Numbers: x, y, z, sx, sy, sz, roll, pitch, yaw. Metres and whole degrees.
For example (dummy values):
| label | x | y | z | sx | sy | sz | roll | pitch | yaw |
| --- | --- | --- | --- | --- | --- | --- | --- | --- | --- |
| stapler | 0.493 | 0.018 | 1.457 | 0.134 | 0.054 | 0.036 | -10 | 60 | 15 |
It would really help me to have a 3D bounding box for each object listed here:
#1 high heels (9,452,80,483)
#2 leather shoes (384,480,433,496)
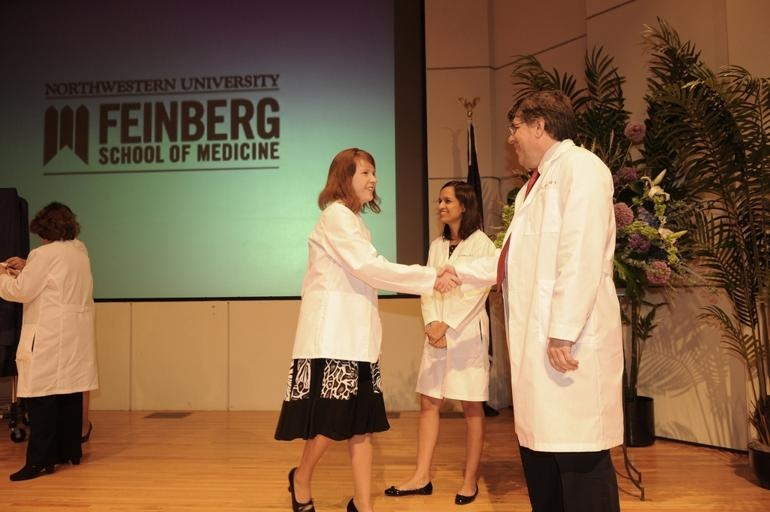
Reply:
| label | x | y | z | sx | sy | sz | roll | pitch | yaw |
| --- | --- | --- | --- | --- | --- | --- | --- | --- | --- |
| high heels | -2.836 | 1.780 | 5.470 | 0.489 | 0.223 | 0.169 | 3 | -1 | -23 |
| leather shoes | 0.193 | 1.825 | 5.116 | 0.350 | 0.140 | 0.131 | 3 | -8 | -4 |
